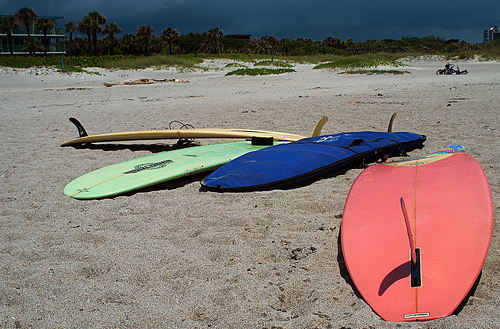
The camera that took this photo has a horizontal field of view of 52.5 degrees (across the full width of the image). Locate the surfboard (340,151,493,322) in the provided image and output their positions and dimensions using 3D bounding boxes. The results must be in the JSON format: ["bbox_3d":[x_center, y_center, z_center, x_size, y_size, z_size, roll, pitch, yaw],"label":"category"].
[{"bbox_3d":[1.792,0.605,5.448,1.162,0.811,2.126,-3,30,24],"label":"surfboard"}]

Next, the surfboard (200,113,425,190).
[{"bbox_3d":[1.126,-0.304,7.399,3.668,0.602,1.007,-7,13,-32],"label":"surfboard"}]

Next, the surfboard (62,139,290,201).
[{"bbox_3d":[-0.898,-0.105,7.563,4.147,0.242,0.946,-4,9,-37],"label":"surfboard"}]
